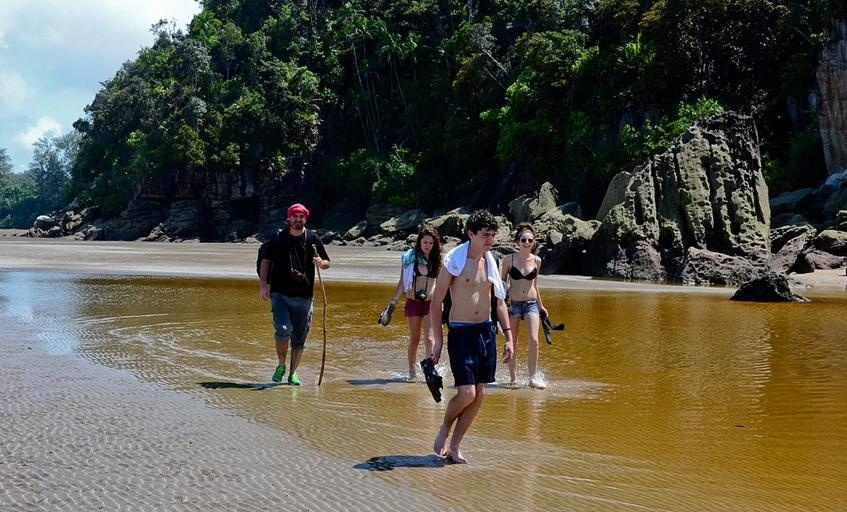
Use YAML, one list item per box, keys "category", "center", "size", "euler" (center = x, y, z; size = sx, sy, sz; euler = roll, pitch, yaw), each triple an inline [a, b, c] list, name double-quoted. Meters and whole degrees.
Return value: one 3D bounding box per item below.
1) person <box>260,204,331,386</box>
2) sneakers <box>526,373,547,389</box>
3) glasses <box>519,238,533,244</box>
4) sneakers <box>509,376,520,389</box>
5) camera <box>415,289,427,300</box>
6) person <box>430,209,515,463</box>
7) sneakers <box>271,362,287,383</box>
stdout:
- category: "person"
  center: [-2.132, 0.637, 11.159]
  size: [1.052, 2.895, 0.534]
  euler: [2, -2, -14]
- category: "sneakers"
  center: [1.868, 2.061, 11.386]
  size: [0.286, 0.287, 0.185]
  euler: [-3, 2, 16]
- category: "glasses"
  center: [1.713, -0.245, 11.386]
  size: [0.244, 0.096, 0.087]
  euler: [3, -2, -27]
- category: "sneakers"
  center: [1.536, 2.121, 11.493]
  size: [0.197, 0.141, 0.326]
  euler: [-4, -31, 23]
- category: "camera"
  center: [-0.035, 0.674, 11.888]
  size: [0.196, 0.198, 0.119]
  euler: [-2, 5, 0]
- category: "person"
  center: [0.618, 1.002, 8.901]
  size: [1.041, 3.173, 0.633]
  euler: [3, -2, -36]
- category: "sneakers"
  center: [-2.329, 1.887, 11.287]
  size: [0.155, 0.438, 0.188]
  euler: [13, -45, -8]
